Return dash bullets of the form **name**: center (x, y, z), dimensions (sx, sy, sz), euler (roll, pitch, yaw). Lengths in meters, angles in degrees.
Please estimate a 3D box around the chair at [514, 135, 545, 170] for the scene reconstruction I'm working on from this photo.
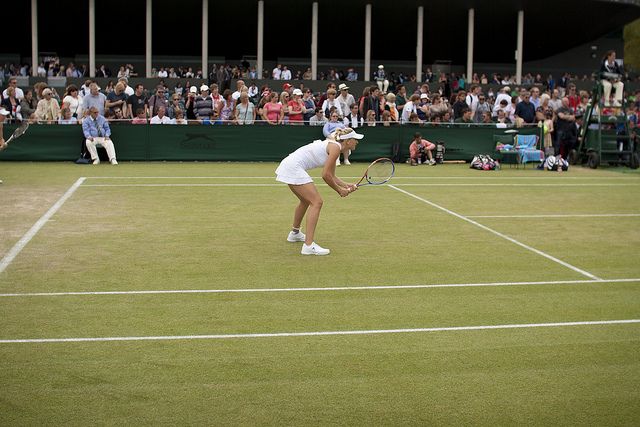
- **chair**: center (6.920, -2.090, 24.716), dimensions (1.043, 1.056, 1.008), euler (3, 9, 18)

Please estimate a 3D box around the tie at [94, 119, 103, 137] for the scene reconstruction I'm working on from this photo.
- **tie**: center (-6.954, -2.694, 23.425), dimensions (0.204, 0.574, 0.287), euler (1, 12, 2)

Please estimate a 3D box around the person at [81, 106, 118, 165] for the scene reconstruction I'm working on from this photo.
- **person**: center (-6.952, -2.465, 23.512), dimensions (0.961, 1.846, 0.563), euler (-3, 13, -17)
